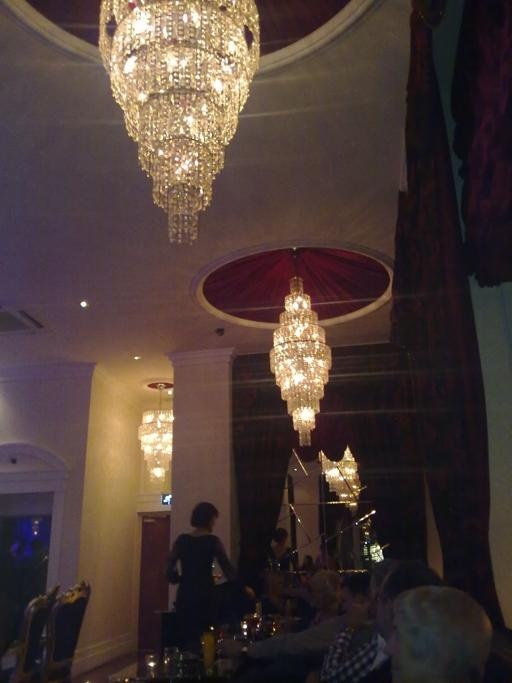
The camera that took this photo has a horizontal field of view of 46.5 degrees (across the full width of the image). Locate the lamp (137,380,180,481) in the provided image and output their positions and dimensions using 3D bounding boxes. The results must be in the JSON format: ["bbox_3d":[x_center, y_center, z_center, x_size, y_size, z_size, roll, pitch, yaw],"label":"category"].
[{"bbox_3d":[-1.789,1.672,10.985,0.596,1.684,0.671,2,1,10],"label":"lamp"}]

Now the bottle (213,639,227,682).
[{"bbox_3d":[-0.186,1.658,3.084,0.067,0.254,0.171,1,21,3],"label":"bottle"}]

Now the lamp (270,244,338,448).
[{"bbox_3d":[0.477,0.139,6.402,0.525,1.455,0.587,8,-22,-28],"label":"lamp"}]

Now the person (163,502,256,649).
[{"bbox_3d":[-0.559,2.491,6.393,0.786,1.408,1.143,1,-21,-9],"label":"person"}]
